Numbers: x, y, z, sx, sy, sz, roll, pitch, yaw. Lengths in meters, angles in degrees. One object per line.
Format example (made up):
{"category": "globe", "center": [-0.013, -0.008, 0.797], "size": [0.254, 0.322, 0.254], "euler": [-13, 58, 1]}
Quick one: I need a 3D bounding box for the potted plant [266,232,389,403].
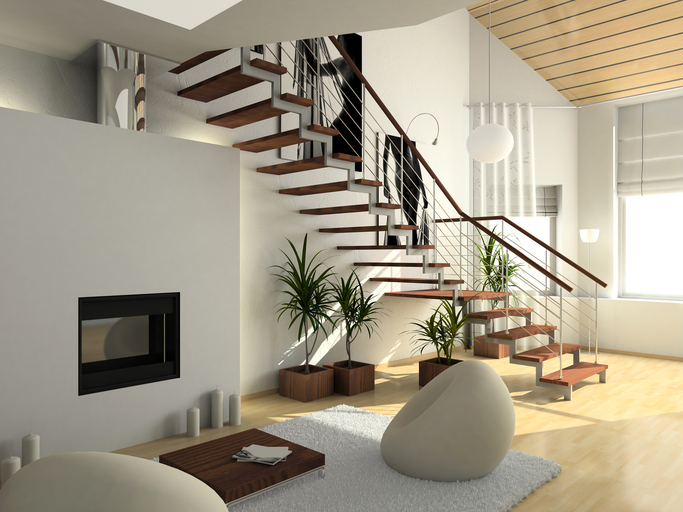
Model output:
{"category": "potted plant", "center": [-0.065, 0.633, 5.954], "size": [0.845, 1.754, 1.351], "euler": [5, 6, 44]}

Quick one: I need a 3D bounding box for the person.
{"category": "person", "center": [0.811, -0.887, 6.675], "size": [0.596, 1.452, 1.525], "euler": [2, 4, 9]}

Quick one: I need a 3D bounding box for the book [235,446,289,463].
{"category": "book", "center": [-0.552, 1.379, 3.610], "size": [0.157, 0.035, 0.146], "euler": [3, 1, 16]}

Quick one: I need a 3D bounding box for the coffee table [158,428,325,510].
{"category": "coffee table", "center": [-0.701, 1.445, 3.664], "size": [0.863, 0.136, 0.740], "euler": [-3, 5, -43]}

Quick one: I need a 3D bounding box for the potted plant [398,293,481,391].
{"category": "potted plant", "center": [1.296, 1.053, 6.135], "size": [0.537, 0.984, 0.706], "euler": [7, 3, 24]}

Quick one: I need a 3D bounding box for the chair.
{"category": "chair", "center": [0.764, 1.211, 3.984], "size": [0.919, 0.602, 0.920], "euler": [-10, -10, 12]}
